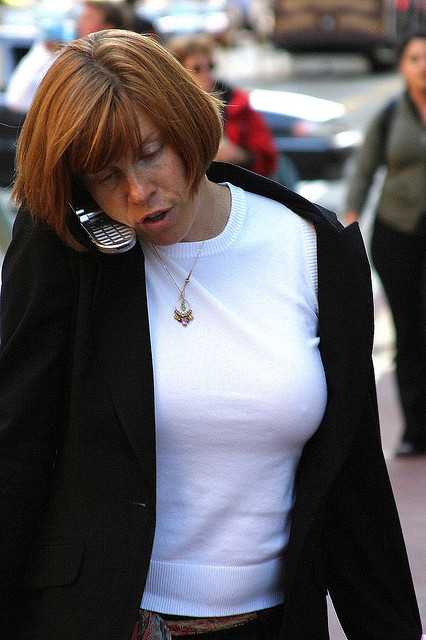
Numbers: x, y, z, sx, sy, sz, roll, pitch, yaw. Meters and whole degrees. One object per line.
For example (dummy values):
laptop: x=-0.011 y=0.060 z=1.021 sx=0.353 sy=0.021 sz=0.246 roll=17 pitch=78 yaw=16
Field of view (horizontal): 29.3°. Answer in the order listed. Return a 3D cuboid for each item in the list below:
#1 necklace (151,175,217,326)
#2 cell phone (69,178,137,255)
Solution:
necklace: x=-0.062 y=-0.095 z=1.487 sx=0.094 sy=0.210 sz=0.009 roll=-10 pitch=11 yaw=-33
cell phone: x=-0.208 y=-0.179 z=1.482 sx=0.069 sy=0.039 sz=0.229 roll=-24 pitch=36 yaw=-16
